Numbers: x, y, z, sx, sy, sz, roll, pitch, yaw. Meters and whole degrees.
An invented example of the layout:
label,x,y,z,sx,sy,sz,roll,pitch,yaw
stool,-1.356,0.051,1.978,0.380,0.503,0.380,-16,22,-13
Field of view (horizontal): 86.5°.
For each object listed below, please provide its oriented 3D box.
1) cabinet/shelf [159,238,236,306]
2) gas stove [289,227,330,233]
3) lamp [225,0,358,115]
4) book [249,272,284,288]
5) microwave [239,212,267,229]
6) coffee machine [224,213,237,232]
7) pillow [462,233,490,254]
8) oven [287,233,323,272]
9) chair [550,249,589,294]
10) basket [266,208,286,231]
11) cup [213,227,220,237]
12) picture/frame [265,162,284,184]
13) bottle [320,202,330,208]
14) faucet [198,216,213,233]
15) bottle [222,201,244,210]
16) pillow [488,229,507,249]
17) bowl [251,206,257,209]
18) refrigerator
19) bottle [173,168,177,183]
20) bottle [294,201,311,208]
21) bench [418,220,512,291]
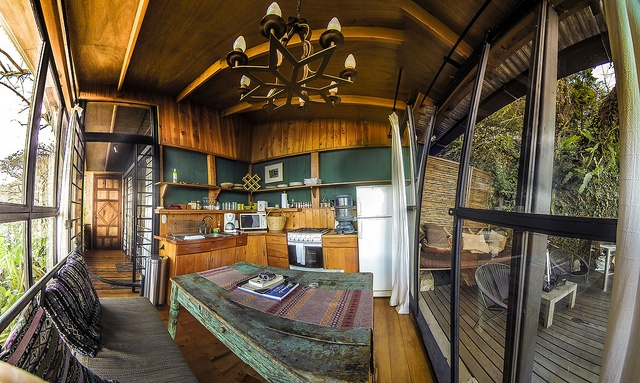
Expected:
label,x,y,z,sx,sy,sz,roll,pitch,yaw
cabinet/shelf,-1.836,1.039,5.171,0.620,0.885,1.005,13,11,39
gas stove,-0.172,0.637,5.550,0.624,0.060,0.549,-2,-4,12
lamp,-0.324,-1.540,3.785,0.772,0.894,0.786,-25,-44,28
book,-0.567,0.890,3.499,0.164,0.061,0.212,1,-1,29
microwave,-1.169,0.500,5.761,0.440,0.267,0.272,2,-11,-16
coffee machine,-1.514,0.516,5.593,0.253,0.220,0.407,7,14,-14
pillow,1.425,0.481,3.141,0.050,0.151,0.162,-4,5,-36
oven,-0.173,0.942,5.490,0.646,0.601,0.481,-2,2,25
chair,1.788,0.589,2.579,0.247,0.309,0.266,-6,-11,5
basket,-0.781,0.484,5.903,0.352,0.399,0.394,-1,-3,-6
cup,-1.701,0.655,5.445,0.084,0.081,0.149,4,-20,-3
picture/frame,-0.872,-0.342,6.320,0.410,0.349,0.016,-5,-7,39
bottle,0.075,0.226,5.833,0.209,0.102,0.128,-2,-3,6
faucet,-1.864,0.523,5.509,0.094,0.283,0.274,-3,-3,24
bottle,-1.563,0.249,6.004,0.129,0.140,0.495,-4,-4,33
pillow,1.524,0.414,2.923,0.050,0.132,0.129,5,4,-15
bowl,-1.240,0.286,6.209,0.101,0.084,0.150,-1,-3,-11
refrigerator,0.856,0.635,5.193,0.432,1.173,0.439,0,5,31
bottle,-2.259,-0.254,5.205,0.073,0.224,0.107,-1,-3,-23
bottle,-0.352,0.232,5.978,0.433,0.122,0.174,-3,-4,22
bench,1.387,0.551,3.292,0.835,0.352,0.341,0,22,11
